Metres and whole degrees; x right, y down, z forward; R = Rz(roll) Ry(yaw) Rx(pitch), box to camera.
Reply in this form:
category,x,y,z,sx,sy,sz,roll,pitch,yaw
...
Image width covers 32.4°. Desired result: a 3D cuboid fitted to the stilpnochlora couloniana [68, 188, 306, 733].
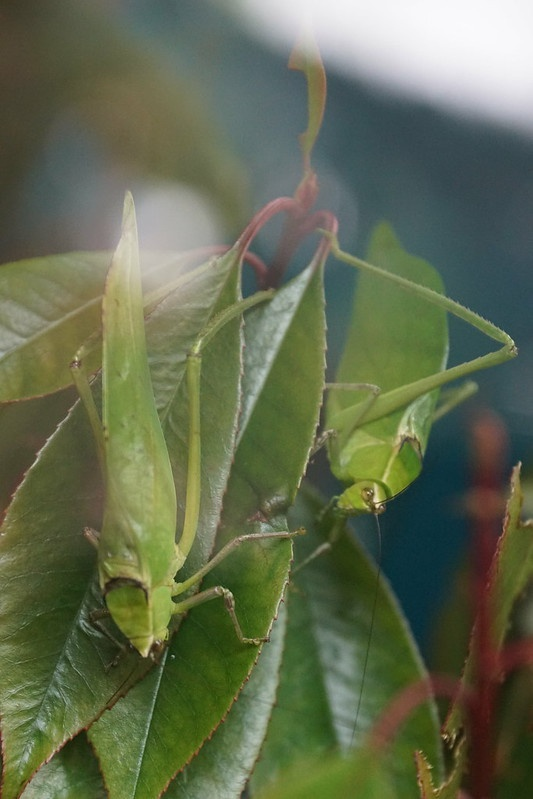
category,x,y,z,sx,sy,sz,roll,pitch,yaw
stilpnochlora couloniana,-0.070,0.062,0.893,0.103,0.429,0.257,2,-7,-40
